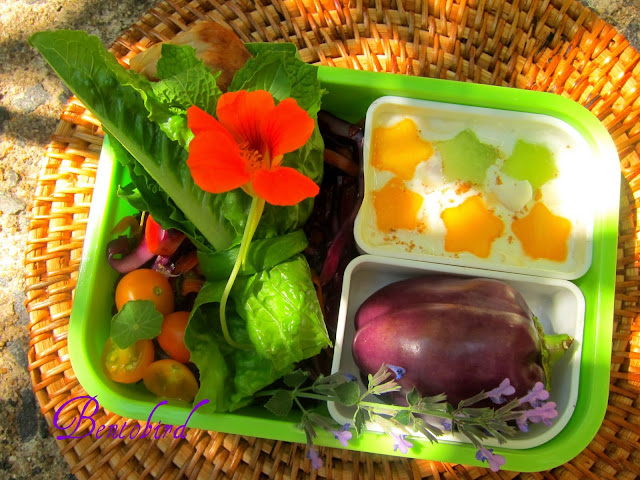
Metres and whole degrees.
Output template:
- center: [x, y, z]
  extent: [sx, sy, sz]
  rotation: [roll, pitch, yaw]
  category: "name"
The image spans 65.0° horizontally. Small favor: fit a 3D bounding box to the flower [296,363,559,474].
- center: [0.197, 0.337, 1.088]
  extent: [0.543, 0.246, 0.195]
  rotation: [2, 105, 7]
  category: "flower"
